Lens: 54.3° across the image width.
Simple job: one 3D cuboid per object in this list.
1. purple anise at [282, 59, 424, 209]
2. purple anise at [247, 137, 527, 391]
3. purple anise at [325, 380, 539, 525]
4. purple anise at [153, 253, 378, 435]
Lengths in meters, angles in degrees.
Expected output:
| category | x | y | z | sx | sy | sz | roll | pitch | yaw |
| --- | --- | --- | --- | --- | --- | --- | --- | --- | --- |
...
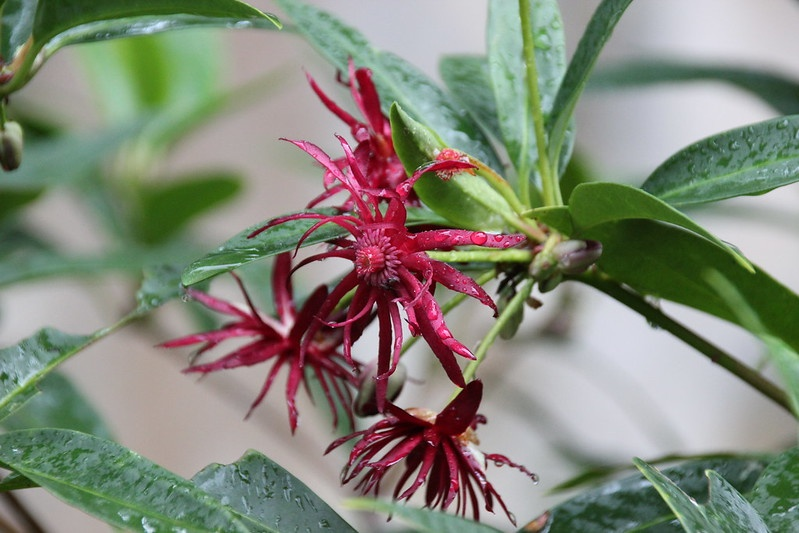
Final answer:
| category | x | y | z | sx | sy | sz | roll | pitch | yaw |
| --- | --- | --- | --- | --- | --- | --- | --- | --- | --- |
| purple anise | -0.050 | -0.172 | 1.057 | 0.175 | 0.182 | 0.089 | -17 | -33 | 24 |
| purple anise | -0.010 | -0.008 | 0.929 | 0.289 | 0.248 | 0.078 | 35 | -49 | -21 |
| purple anise | 0.042 | 0.228 | 0.961 | 0.198 | 0.099 | 0.191 | 16 | -1 | 45 |
| purple anise | -0.146 | 0.093 | 1.077 | 0.263 | 0.289 | 0.099 | -8 | -81 | 12 |
